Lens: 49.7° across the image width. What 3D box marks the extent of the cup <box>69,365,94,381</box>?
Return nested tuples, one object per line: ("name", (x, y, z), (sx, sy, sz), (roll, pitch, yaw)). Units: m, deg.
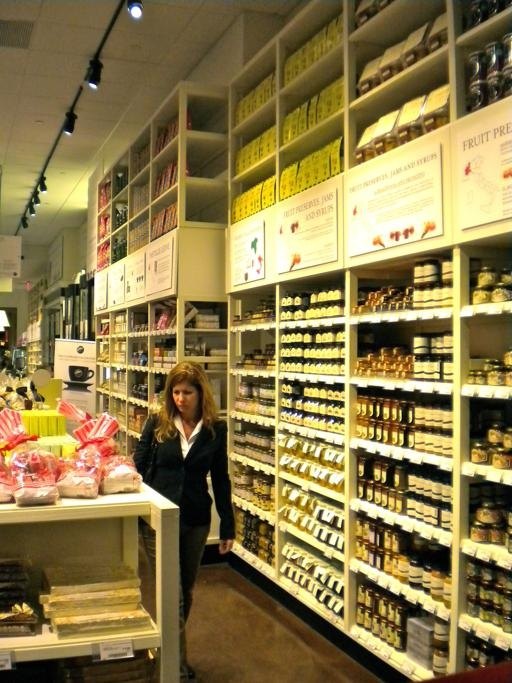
("cup", (-2.359, 0.431, 7.456), (0.253, 0.180, 0.206), (12, -31, -28))
